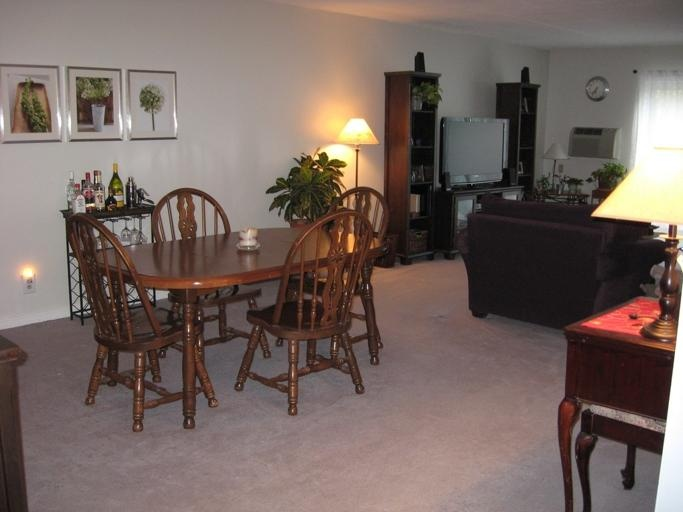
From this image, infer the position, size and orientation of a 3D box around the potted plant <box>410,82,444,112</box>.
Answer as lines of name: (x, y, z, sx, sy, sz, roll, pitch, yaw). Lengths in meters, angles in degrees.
potted plant: (1.022, -1.950, 6.573, 0.349, 0.350, 0.303, 0, 14, 0)

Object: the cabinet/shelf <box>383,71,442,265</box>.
cabinet/shelf: (0.881, -1.091, 6.608, 0.671, 2.242, 0.706, -3, 14, -12)

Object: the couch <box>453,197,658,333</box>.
couch: (1.746, -0.013, 4.564, 1.321, 1.035, 0.839, 11, 24, 39)

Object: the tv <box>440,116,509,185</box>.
tv: (1.808, -1.414, 7.343, 1.186, 0.887, 0.103, -7, 7, -33)

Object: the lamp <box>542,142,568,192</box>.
lamp: (3.521, -1.473, 8.880, 0.346, 0.748, 0.907, 6, 15, 22)

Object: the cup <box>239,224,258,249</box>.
cup: (-0.604, -0.127, 3.471, 0.128, 0.103, 0.133, 2, 10, 0)

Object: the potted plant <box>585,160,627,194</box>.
potted plant: (4.028, -1.188, 8.302, 0.638, 0.612, 0.646, 11, 15, 43)

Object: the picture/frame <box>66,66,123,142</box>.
picture/frame: (-2.111, -1.305, 4.567, 0.570, 0.766, 0.049, -11, 19, -43)
